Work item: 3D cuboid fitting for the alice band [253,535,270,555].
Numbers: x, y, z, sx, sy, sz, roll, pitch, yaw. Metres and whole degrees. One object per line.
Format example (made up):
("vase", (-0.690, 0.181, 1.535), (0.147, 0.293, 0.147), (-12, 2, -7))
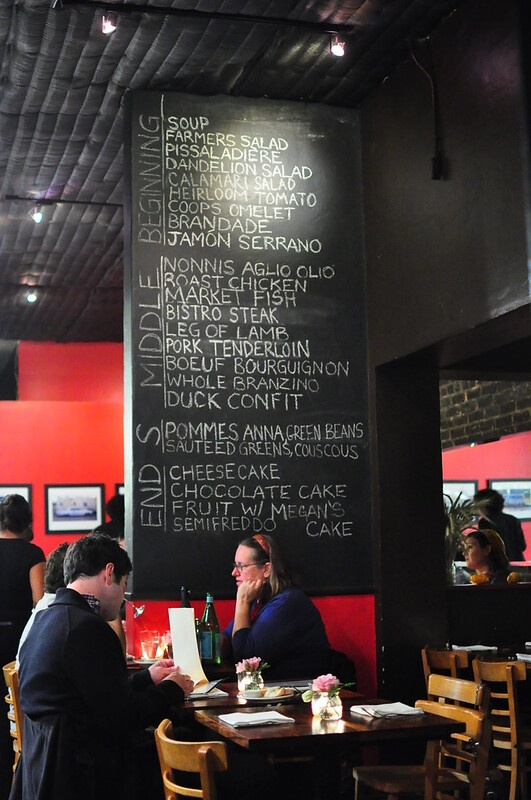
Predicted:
("alice band", (-0.016, 0.617, 3.139), (0.026, 0.072, 0.061), (-37, -3, -1))

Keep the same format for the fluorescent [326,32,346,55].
("fluorescent", (0.313, -1.574, 3.282), (0.090, 0.105, 0.091), (2, -6, -1))

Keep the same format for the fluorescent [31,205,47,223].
("fluorescent", (-1.654, -1.358, 5.332), (0.123, 0.170, 0.045), (-1, 1, 29))

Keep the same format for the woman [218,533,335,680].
("woman", (0.031, 0.983, 3.096), (0.459, 0.787, 0.432), (-4, -1, 2))

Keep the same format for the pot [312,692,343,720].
("pot", (0.167, 0.848, 2.020), (0.073, 0.072, 0.074), (3, 0, 0))

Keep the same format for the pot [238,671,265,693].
("pot", (-0.055, 0.910, 2.386), (0.089, 0.088, 0.091), (2, -10, 0))

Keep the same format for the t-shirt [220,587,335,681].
("t-shirt", (0.046, 0.937, 2.947), (0.385, 0.383, 0.304), (2, -13, -7))

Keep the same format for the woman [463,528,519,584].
("woman", (1.472, 1.031, 4.879), (0.296, 0.308, 0.864), (-5, -7, 14))
